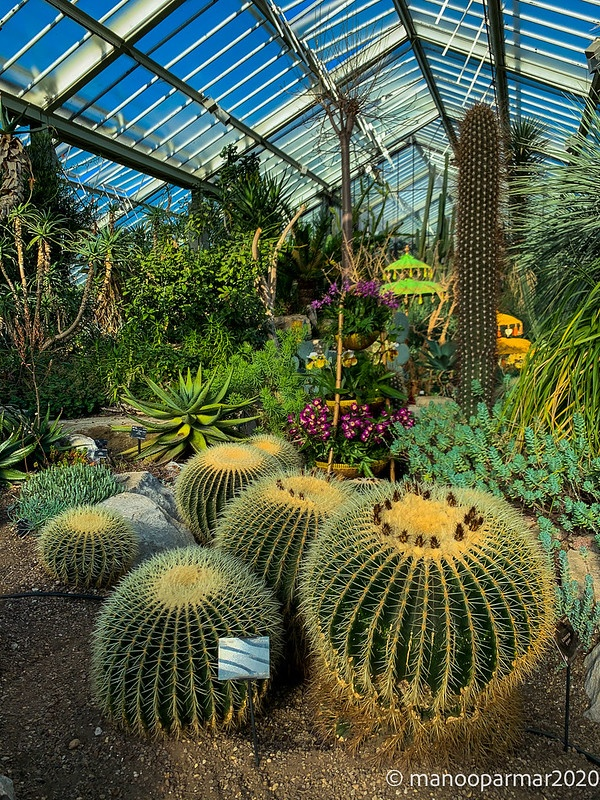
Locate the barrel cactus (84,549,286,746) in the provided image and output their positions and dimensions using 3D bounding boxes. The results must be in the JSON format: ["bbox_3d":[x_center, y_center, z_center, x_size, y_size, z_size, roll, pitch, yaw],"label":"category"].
[{"bbox_3d":[-0.371,0.718,2.027,0.532,0.517,0.527,3,5,-12],"label":"barrel cactus"}]

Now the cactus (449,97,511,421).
[{"bbox_3d":[1.032,-0.800,3.679,0.278,1.769,0.200,6,11,27],"label":"cactus"}]

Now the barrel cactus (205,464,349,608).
[{"bbox_3d":[-0.080,0.483,2.459,0.483,0.483,0.484,2,1,-1],"label":"barrel cactus"}]

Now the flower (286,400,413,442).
[{"bbox_3d":[0.310,0.188,4.124,0.861,0.341,0.403,3,10,10],"label":"flower"}]

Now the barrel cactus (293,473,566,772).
[{"bbox_3d":[0.414,0.676,2.016,0.768,0.775,0.779,4,9,23],"label":"barrel cactus"}]

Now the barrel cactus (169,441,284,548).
[{"bbox_3d":[-0.347,0.420,3.342,0.521,0.532,0.535,2,4,32],"label":"barrel cactus"}]

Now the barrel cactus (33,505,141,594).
[{"bbox_3d":[-0.978,0.716,2.993,0.378,0.292,0.379,-3,-10,-23],"label":"barrel cactus"}]
